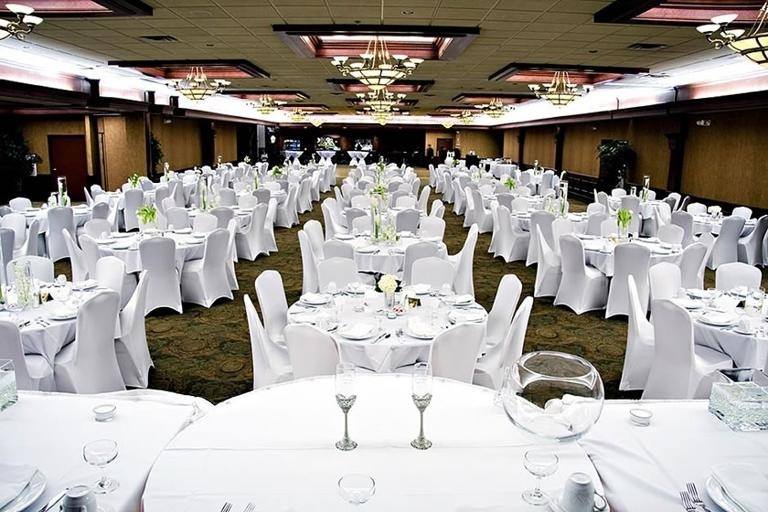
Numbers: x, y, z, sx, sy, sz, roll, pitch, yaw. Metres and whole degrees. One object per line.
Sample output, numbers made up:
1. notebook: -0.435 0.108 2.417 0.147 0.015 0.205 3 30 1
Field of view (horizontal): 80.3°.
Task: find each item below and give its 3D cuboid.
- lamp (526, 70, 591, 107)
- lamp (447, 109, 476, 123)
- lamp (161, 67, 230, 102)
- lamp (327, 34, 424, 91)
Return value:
1. lamp: 4.116 -4.033 10.630 1.249 0.945 1.091 9 13 26
2. lamp: 4.492 -8.175 26.545 1.588 0.745 1.535 7 22 18
3. lamp: -4.463 -4.080 10.806 1.679 0.746 1.614 0 17 -9
4. lamp: 0.018 -3.685 8.906 1.510 1.163 1.475 -18 28 -41
